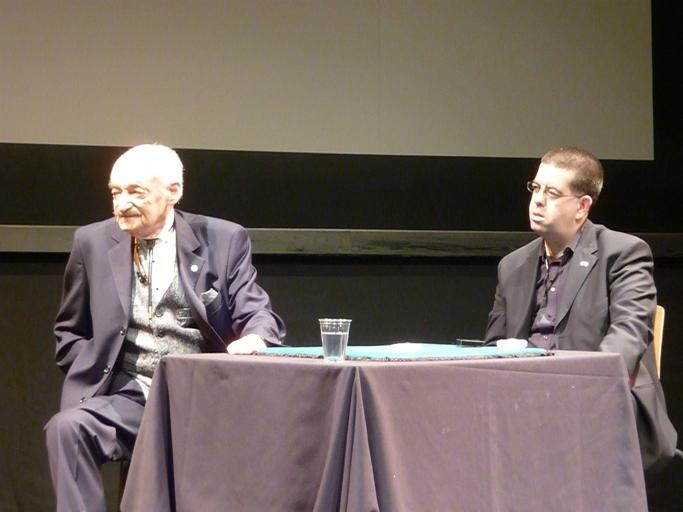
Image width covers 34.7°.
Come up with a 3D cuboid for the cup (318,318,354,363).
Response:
[{"bbox_3d":[-0.026,0.330,4.318,0.139,0.163,0.142,1,-9,0],"label":"cup"}]
